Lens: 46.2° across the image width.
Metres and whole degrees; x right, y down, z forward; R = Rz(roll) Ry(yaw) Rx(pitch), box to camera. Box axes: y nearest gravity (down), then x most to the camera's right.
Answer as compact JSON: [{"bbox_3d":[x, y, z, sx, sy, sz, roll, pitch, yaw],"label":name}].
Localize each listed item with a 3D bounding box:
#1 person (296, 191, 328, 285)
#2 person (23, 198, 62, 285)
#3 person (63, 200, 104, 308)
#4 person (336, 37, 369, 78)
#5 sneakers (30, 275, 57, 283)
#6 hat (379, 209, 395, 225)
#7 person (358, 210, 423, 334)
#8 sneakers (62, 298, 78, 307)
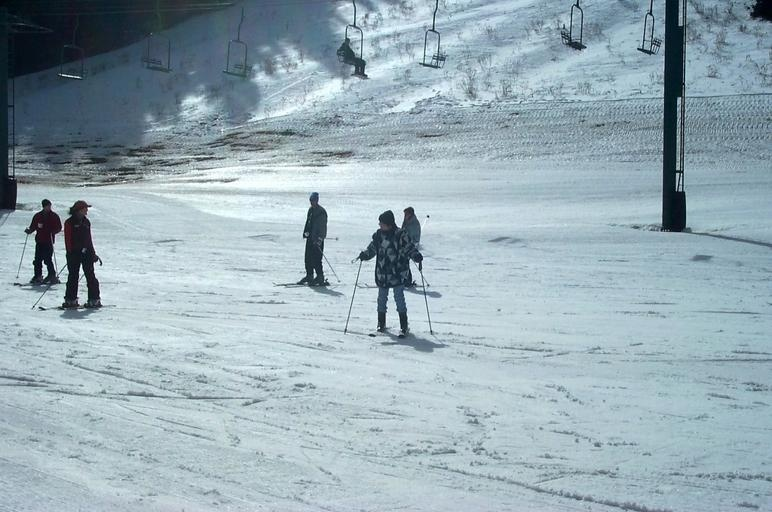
[{"bbox_3d":[-1.956,-0.463,24.450,0.703,2.416,1.232,-1,8,-5],"label":"person"},{"bbox_3d":[-8.970,-0.379,23.727,0.814,2.137,1.430,-3,8,-19],"label":"person"},{"bbox_3d":[-7.352,-0.038,21.693,0.894,2.507,0.779,-2,8,-17],"label":"person"},{"bbox_3d":[-1.120,-6.693,30.690,0.941,1.303,1.925,0,7,-1],"label":"person"},{"bbox_3d":[-8.887,0.623,23.529,0.775,0.263,0.233,3,-6,-1],"label":"sneakers"},{"bbox_3d":[0.016,-0.889,20.622,0.318,0.342,0.387,12,27,20],"label":"hat"},{"bbox_3d":[0.135,0.385,20.550,1.206,2.772,0.575,3,8,20],"label":"person"},{"bbox_3d":[-7.532,1.120,21.539,0.358,0.195,0.219,-1,7,-6],"label":"sneakers"}]
